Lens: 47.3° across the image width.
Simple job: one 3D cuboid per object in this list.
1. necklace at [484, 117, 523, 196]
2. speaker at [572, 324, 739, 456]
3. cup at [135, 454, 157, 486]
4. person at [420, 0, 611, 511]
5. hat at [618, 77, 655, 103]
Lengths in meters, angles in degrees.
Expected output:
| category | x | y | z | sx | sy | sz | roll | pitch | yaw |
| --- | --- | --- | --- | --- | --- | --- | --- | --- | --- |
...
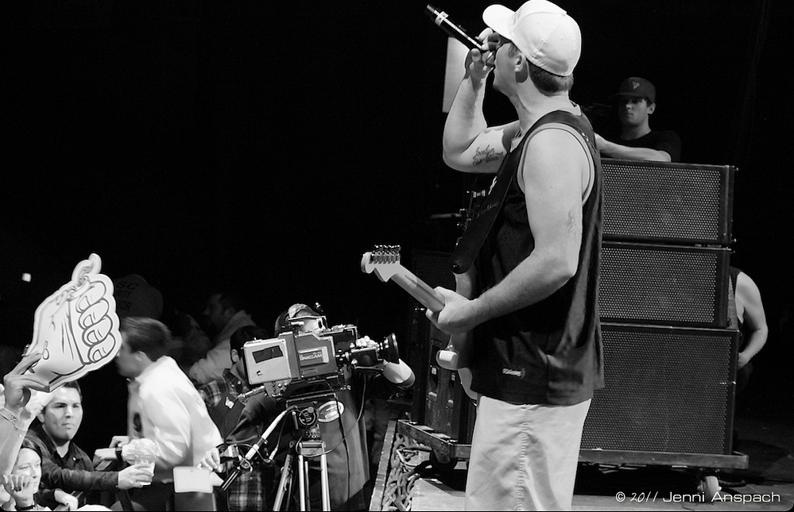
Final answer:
| category | x | y | z | sx | sy | sz | roll | pitch | yaw |
| --- | --- | --- | --- | --- | --- | --- | --- | --- | --- |
| necklace | 0.665 | -0.627 | 5.617 | 0.071 | 0.457 | 0.211 | 17 | 3 | -31 |
| speaker | 1.896 | 1.013 | 6.971 | 1.551 | 1.081 | 0.870 | 0 | -4 | 2 |
| cup | -1.782 | 1.525 | 6.423 | 0.123 | 0.214 | 0.263 | 4 | -12 | -19 |
| person | 0.737 | -0.019 | 5.268 | 0.908 | 2.927 | 0.584 | -2 | -11 | 11 |
| hat | 2.009 | -1.409 | 7.539 | 0.294 | 0.137 | 0.212 | 13 | 1 | -38 |
